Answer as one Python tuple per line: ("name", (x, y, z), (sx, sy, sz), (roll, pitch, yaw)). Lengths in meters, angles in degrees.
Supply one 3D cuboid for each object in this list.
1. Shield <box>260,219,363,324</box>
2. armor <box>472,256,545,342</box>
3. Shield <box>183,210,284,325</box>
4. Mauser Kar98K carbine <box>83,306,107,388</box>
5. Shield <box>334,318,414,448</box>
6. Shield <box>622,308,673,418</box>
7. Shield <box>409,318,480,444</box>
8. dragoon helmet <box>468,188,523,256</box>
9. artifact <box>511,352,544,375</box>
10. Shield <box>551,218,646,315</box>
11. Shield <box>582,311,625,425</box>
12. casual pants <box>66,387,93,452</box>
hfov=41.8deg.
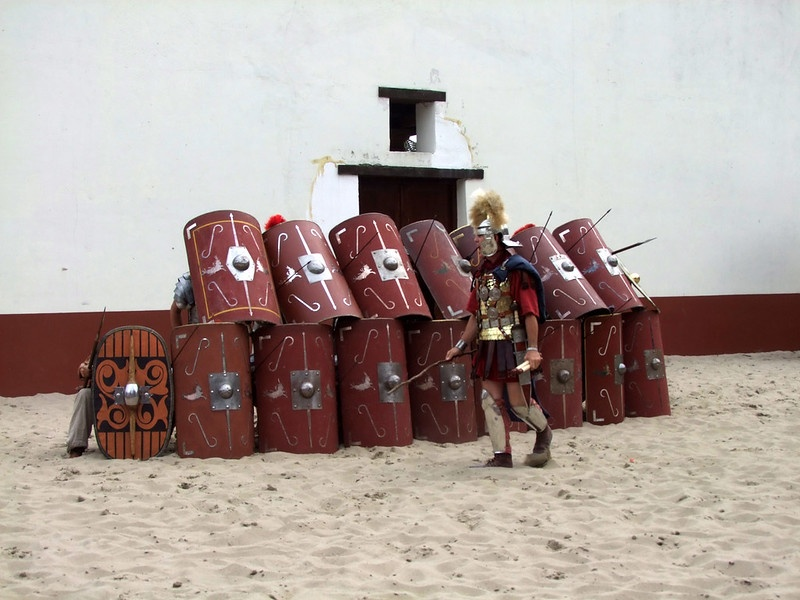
("Shield", (-0.880, -0.274, 10.108), (0.665, 1.204, 0.340), (-8, -26, -19))
("armor", (0.955, 0.006, 9.357), (0.641, 0.742, 0.384), (-7, -14, 43))
("Shield", (-1.535, -0.285, 9.955), (0.786, 1.261, 0.309), (-1, -32, -27))
("Mauser Kar98K carbine", (-3.170, 0.504, 10.910), (0.165, 0.888, 0.127), (8, -10, 36))
("Shield", (-0.239, 0.922, 10.252), (0.651, 1.341, 0.652), (-3, -27, -6))
("Shield", (2.683, 0.694, 11.248), (0.464, 1.154, 0.301), (-5, -1, -20))
("Shield", (0.438, 0.862, 10.523), (0.657, 1.172, 0.725), (-3, -1, -22))
("dragoon helmet", (0.854, -0.730, 9.410), (0.447, 0.610, 0.277), (-2, 28, 2))
("artifact", (1.103, 0.561, 9.188), (0.166, 0.186, 0.608), (-8, 0, 7))
("Shield", (2.179, -0.371, 11.703), (0.721, 1.492, 0.438), (-16, -27, -14))
("Shield", (2.127, 0.738, 10.991), (0.426, 1.147, 0.262), (-4, -5, 10))
("casual pants", (-2.951, 1.143, 9.845), (0.453, 0.610, 0.209), (-7, -7, 37))
